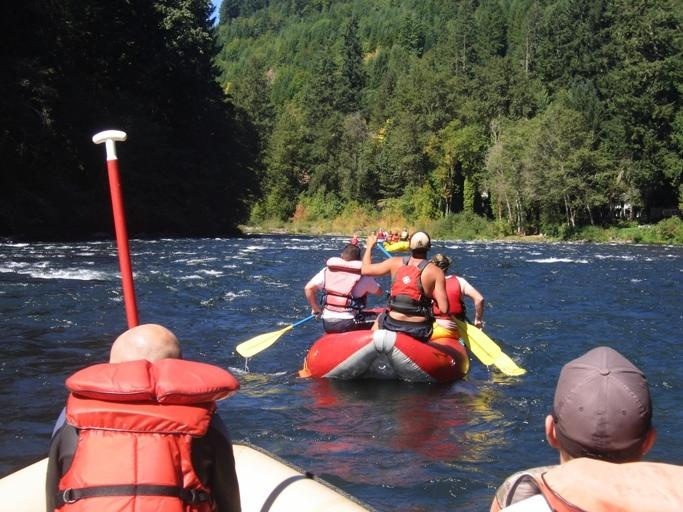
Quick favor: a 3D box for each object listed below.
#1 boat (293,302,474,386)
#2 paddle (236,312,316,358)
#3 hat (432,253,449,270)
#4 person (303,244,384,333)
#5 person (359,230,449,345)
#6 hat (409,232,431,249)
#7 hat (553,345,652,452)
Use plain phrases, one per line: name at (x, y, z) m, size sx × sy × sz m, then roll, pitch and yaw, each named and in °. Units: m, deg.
boat at (0.584, 1.151, 8.958) m, size 2.157 × 0.804 × 2.879 m, roll 2°, pitch 1°, yaw 5°
paddle at (-0.923, 1.109, 9.759) m, size 1.074 × 0.080 × 0.215 m, roll -24°, pitch 56°, yaw -23°
hat at (1.200, 0.053, 8.408) m, size 0.165 × 0.106 × 0.202 m, roll 32°, pitch 21°, yaw 29°
person at (0.042, 0.622, 8.730) m, size 1.000 × 1.435 × 0.831 m, roll -3°, pitch 14°, yaw -20°
person at (0.695, 0.321, 7.820) m, size 0.512 × 1.208 × 0.957 m, roll -2°, pitch 3°, yaw -36°
hat at (0.840, -0.175, 7.586) m, size 0.206 × 0.197 × 0.308 m, roll 0°, pitch 3°, yaw 5°
hat at (1.113, 0.543, 2.998) m, size 0.404 × 0.345 × 0.602 m, roll -3°, pitch 36°, yaw 17°
